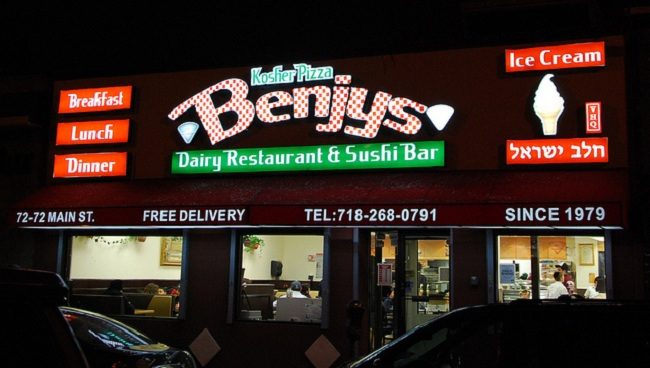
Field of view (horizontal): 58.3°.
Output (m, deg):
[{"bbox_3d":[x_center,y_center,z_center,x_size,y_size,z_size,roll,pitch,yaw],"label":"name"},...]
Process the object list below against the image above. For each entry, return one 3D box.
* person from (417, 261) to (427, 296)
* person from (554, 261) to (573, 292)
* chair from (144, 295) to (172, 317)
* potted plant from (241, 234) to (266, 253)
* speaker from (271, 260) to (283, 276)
[{"bbox_3d":[2.464,2.401,14.800,0.207,0.839,0.240,-2,-14,7],"label":"person"},{"bbox_3d":[5.457,2.113,13.163,0.392,0.679,0.184,4,-15,-18],"label":"person"},{"bbox_3d":[-4.099,3.030,14.426,0.608,0.472,0.292,0,-7,12],"label":"chair"},{"bbox_3d":[-1.766,1.468,14.306,0.523,0.315,0.455,12,-12,-37],"label":"potted plant"},{"bbox_3d":[-1.172,2.060,14.228,0.288,0.381,0.139,0,-14,1],"label":"speaker"}]
